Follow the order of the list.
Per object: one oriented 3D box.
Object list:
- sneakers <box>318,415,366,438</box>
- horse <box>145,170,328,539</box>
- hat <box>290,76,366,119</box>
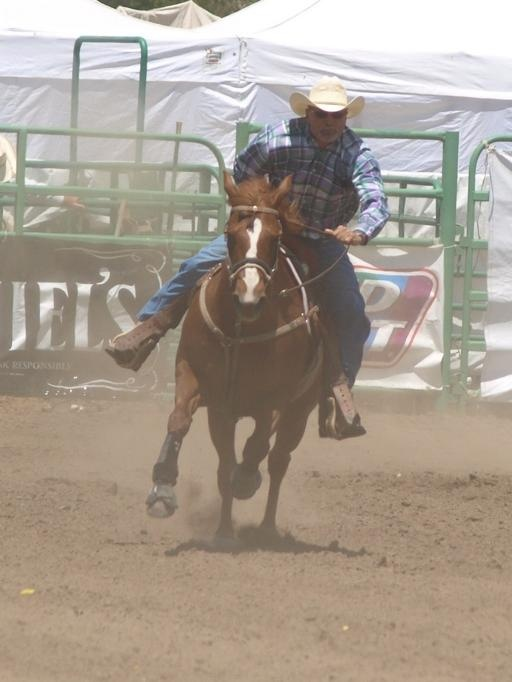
[{"bbox_3d":[0.458,0.467,4.043,0.136,0.084,0.227,4,-9,-30],"label":"sneakers"},{"bbox_3d":[-0.035,0.224,3.854,0.682,1.388,2.261,5,-17,5],"label":"horse"},{"bbox_3d":[0.349,-1.191,3.654,0.358,0.220,0.410,2,6,1],"label":"hat"}]
